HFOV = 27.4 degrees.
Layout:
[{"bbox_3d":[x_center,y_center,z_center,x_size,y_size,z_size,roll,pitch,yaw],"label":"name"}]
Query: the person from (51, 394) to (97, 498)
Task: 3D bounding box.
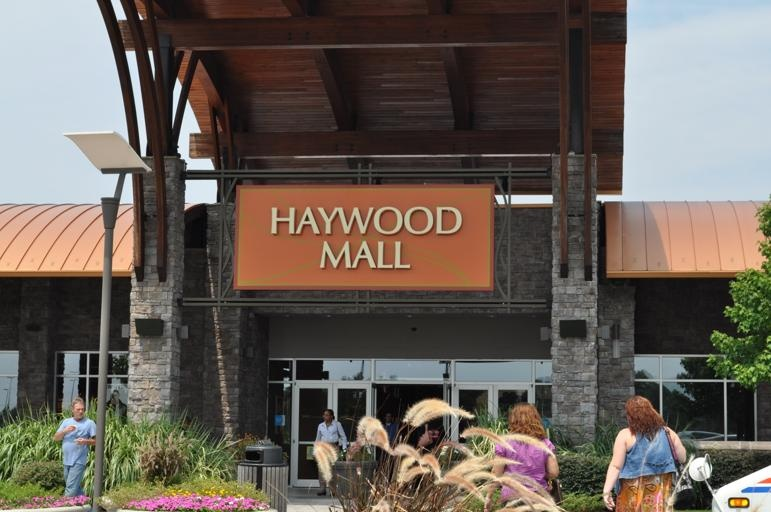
[{"bbox_3d":[-7.546,4.675,38.553,0.959,2.450,1.247,6,-15,-25],"label":"person"}]
